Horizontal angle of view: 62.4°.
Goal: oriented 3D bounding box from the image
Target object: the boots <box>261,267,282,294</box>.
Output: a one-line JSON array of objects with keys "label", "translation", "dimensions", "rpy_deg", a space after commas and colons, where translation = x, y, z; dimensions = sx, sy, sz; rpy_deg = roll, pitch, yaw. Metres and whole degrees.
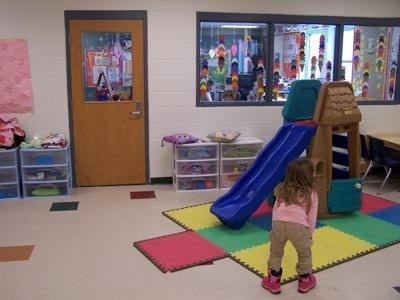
[{"label": "boots", "translation": [0.586, 1.071, 2.796], "dimensions": [0.117, 0.217, 0.223], "rpy_deg": [-3, 15, -15]}]

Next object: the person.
[{"label": "person", "translation": [0.767, 0.627, 2.759], "dimensions": [0.459, 1.078, 0.381], "rpy_deg": [2, 15, 8]}]

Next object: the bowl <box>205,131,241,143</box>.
[{"label": "bowl", "translation": [0.358, -0.200, 5.062], "dimensions": [0.504, 0.163, 0.203], "rpy_deg": [1, 14, 2]}]

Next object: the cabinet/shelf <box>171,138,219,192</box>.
[{"label": "cabinet/shelf", "translation": [-0.121, 0.162, 5.316], "dimensions": [0.907, 0.893, 0.671], "rpy_deg": [-2, 8, -11]}]

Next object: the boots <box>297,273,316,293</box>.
[{"label": "boots", "translation": [0.885, 1.087, 2.812], "dimensions": [0.090, 0.148, 0.217], "rpy_deg": [10, 19, 42]}]

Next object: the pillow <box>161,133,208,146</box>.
[{"label": "pillow", "translation": [-0.224, -0.177, 5.085], "dimensions": [0.633, 0.136, 0.343], "rpy_deg": [-6, 15, -22]}]

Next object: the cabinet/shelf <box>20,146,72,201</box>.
[{"label": "cabinet/shelf", "translation": [-2.163, 0.285, 5.043], "dimensions": [0.874, 0.902, 0.640], "rpy_deg": [-1, 1, -18]}]
